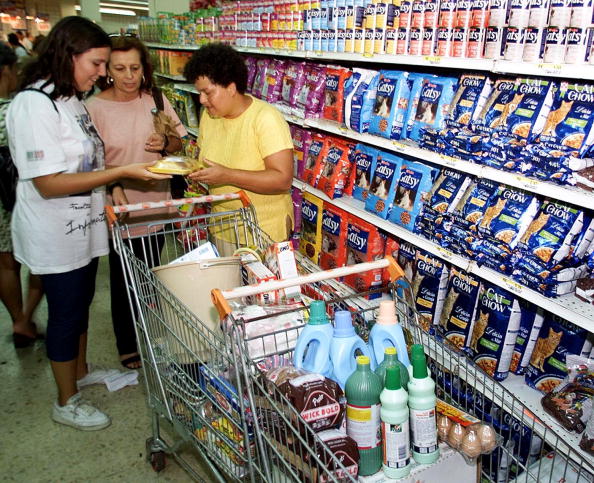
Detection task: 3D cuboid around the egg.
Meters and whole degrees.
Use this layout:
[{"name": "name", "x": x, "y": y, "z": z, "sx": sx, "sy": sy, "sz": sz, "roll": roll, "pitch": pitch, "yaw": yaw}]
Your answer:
[{"name": "egg", "x": 0.522, "y": 0.583, "z": 1.351, "sx": 0.105, "sy": 0.062, "sz": 0.166, "roll": -10, "pitch": 20, "yaw": -21}]

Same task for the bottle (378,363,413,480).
[{"name": "bottle", "x": 0.284, "y": 0.511, "z": 1.255, "sx": 0.094, "sy": 0.306, "sz": 0.120, "roll": -1, "pitch": 25, "yaw": -3}]

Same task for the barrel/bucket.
[{"name": "barrel/bucket", "x": -0.359, "y": 0.246, "z": 1.842, "sx": 0.407, "sy": 0.428, "sz": 0.389, "roll": -8, "pitch": -5, "yaw": -1}]

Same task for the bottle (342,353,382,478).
[{"name": "bottle", "x": 0.192, "y": 0.503, "z": 1.284, "sx": 0.104, "sy": 0.302, "sz": 0.154, "roll": -1, "pitch": 25, "yaw": -3}]

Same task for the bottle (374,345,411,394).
[{"name": "bottle", "x": 0.287, "y": 0.371, "z": 1.346, "sx": 0.110, "sy": 0.163, "sz": 0.115, "roll": -2, "pitch": 13, "yaw": 1}]

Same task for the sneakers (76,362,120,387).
[{"name": "sneakers", "x": -1.467, "y": 0.938, "z": 3.262, "sx": 0.317, "sy": 0.143, "sz": 0.116, "roll": -6, "pitch": 14, "yaw": -31}]

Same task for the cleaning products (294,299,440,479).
[{"name": "cleaning products", "x": 0.206, "y": 0.410, "z": 1.579, "sx": 0.449, "sy": 0.586, "sz": 0.398, "roll": -8, "pitch": 7, "yaw": -36}]

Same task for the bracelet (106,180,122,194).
[{"name": "bracelet", "x": -1.216, "y": -0.356, "z": 2.919, "sx": 0.065, "sy": 0.076, "sz": 0.181, "roll": -2, "pitch": 1, "yaw": -32}]

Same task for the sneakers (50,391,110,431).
[{"name": "sneakers", "x": -1.359, "y": 1.077, "z": 2.828, "sx": 0.357, "sy": 0.183, "sz": 0.180, "roll": 10, "pitch": 13, "yaw": 3}]
